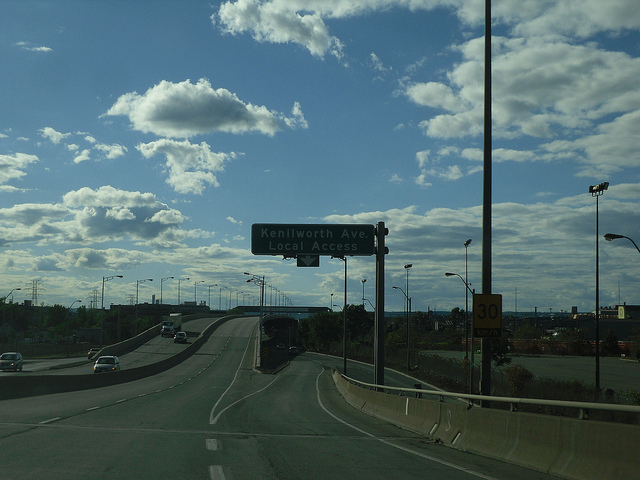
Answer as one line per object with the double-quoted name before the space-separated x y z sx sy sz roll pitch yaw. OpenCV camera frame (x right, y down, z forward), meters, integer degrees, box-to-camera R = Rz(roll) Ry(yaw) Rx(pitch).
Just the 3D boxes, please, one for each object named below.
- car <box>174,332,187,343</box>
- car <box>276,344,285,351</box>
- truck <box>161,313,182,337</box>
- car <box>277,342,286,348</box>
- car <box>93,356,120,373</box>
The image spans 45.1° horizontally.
"car" -19.060 13.353 105.656 1.612 1.422 2.177 1 -9 -12
"car" -7.034 19.438 139.590 1.164 0.940 2.725 2 -2 -1
"truck" -22.350 12.768 114.363 1.678 2.480 5.020 -1 -11 -3
"car" -7.040 18.861 140.430 1.420 1.126 3.281 -1 -11 -3
"car" -16.792 9.777 60.713 1.750 1.193 2.562 1 -9 -11
